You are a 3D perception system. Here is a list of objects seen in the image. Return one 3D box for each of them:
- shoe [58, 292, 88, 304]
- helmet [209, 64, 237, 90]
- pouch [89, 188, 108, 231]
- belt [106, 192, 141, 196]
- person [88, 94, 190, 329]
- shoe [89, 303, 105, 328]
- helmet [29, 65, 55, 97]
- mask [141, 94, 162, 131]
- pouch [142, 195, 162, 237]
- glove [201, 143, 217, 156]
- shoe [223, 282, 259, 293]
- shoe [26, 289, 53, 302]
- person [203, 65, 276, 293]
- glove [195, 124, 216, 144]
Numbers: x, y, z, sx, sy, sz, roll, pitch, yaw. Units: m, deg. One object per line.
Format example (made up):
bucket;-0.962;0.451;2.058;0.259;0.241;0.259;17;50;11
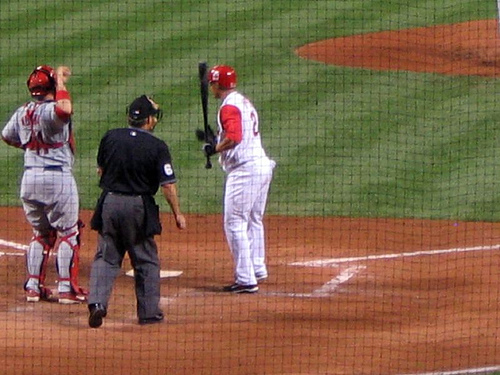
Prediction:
shoe;-2.221;1.375;13.781;0.389;0.170;0.132;0;4;-9
helmet;-0.341;-1.399;14.027;0.337;0.315;0.190;-3;6;-6
pouch;-1.815;0.257;13.078;0.217;0.480;0.321;-5;6;-21
belt;-1.488;0.075;12.945;0.384;0.057;0.056;-3;6;-6
person;-1.392;0.281;12.972;1.174;2.692;0.569;-4;6;-13
shoe;-1.772;1.460;12.735;0.127;0.298;0.136;1;36;-21
helmet;-2.507;-1.287;13.503;0.286;0.377;0.337;5;-20;-1
mask;-1.181;-0.875;13.207;0.111;0.414;0.398;-12;10;-6
pouch;-1.160;0.290;12.984;0.233;0.557;0.141;-8;-4;37
glove;-0.525;-0.499;14.103;0.165;0.149;0.139;-18;11;5
shoe;-0.109;1.245;14.046;0.418;0.176;0.155;2;0;4
shoe;-2.633;1.355;13.793;0.286;0.129;0.104;4;-4;-7
person;-0.119;-0.119;14.042;0.754;2.883;0.518;-6;7;-27
glove;-0.572;-0.681;14.333;0.261;0.135;0.336;-19;-4;-7
